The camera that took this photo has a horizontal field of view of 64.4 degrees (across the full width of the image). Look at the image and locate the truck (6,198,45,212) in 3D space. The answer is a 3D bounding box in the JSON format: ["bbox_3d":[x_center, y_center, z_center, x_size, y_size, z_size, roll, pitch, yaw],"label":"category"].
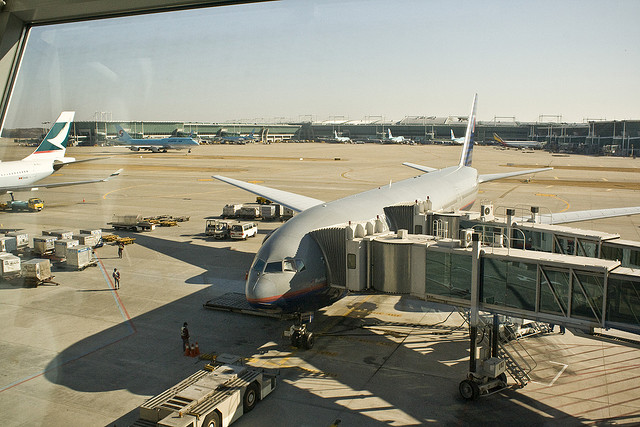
[{"bbox_3d":[-34.117,-0.938,58.249,5.056,1.227,1.828,0,3,19],"label":"truck"}]

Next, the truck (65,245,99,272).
[{"bbox_3d":[-17.942,3.178,37.769,2.118,1.773,3.055,0,3,13],"label":"truck"}]

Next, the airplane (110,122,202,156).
[{"bbox_3d":[-45.523,-19.978,139.640,21.046,5.006,15.224,0,20,-11],"label":"airplane"}]

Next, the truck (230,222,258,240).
[{"bbox_3d":[-6.916,1.576,46.623,1.462,0.823,2.244,-1,1,16],"label":"truck"}]
